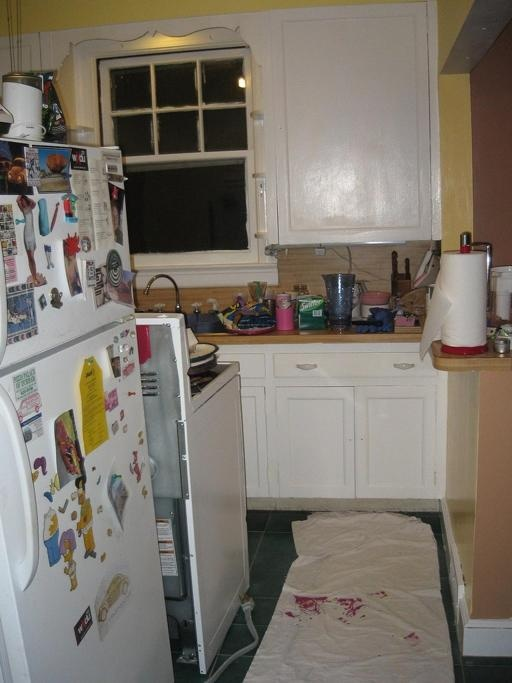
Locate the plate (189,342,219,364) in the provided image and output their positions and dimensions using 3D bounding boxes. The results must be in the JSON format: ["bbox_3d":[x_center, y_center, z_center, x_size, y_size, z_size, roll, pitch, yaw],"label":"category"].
[{"bbox_3d":[-0.166,0.038,1.829,0.081,0.056,0.206,-5,9,-2],"label":"plate"}]

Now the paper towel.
[{"bbox_3d":[0.556,-0.116,1.700,0.212,0.343,0.283,0,14,15],"label":"paper towel"}]

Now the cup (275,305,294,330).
[{"bbox_3d":[0.157,-0.131,2.893,0.110,0.169,0.104,-1,17,0],"label":"cup"}]

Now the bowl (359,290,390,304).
[{"bbox_3d":[0.620,-0.225,2.960,0.128,0.068,0.112,-10,10,-27],"label":"bowl"}]

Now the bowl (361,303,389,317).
[{"bbox_3d":[0.602,-0.168,2.925,0.088,0.090,0.082,0,5,0],"label":"bowl"}]

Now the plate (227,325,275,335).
[{"bbox_3d":[-0.020,-0.055,2.817,0.230,0.039,0.098,-6,9,-4],"label":"plate"}]

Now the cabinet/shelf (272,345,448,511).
[{"bbox_3d":[0.494,0.401,2.909,0.802,0.768,0.315,-1,6,1],"label":"cabinet/shelf"}]

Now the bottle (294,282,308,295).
[{"bbox_3d":[0.249,-0.286,3.131,0.086,0.068,0.141,-4,9,5],"label":"bottle"}]

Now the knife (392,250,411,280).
[{"bbox_3d":[0.801,-0.429,3.105,0.134,0.229,0.063,0,26,13],"label":"knife"}]

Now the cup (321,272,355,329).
[{"bbox_3d":[0.424,-0.202,2.839,0.137,0.274,0.130,-5,9,1],"label":"cup"}]
